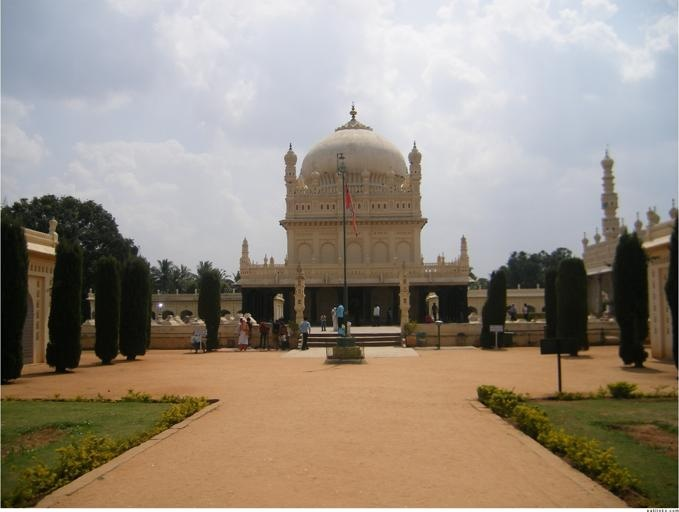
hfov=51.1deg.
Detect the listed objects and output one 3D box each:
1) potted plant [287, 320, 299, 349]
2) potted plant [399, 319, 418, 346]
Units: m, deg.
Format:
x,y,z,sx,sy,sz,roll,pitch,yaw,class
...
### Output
x,y,z,sx,sy,sz,roll,pitch,yaw,class
-1.898,3.361,29.908,0.503,1.034,1.314,-1,0,-4,potted plant
2.859,3.338,29.858,0.802,1.438,0.849,1,-8,-6,potted plant
